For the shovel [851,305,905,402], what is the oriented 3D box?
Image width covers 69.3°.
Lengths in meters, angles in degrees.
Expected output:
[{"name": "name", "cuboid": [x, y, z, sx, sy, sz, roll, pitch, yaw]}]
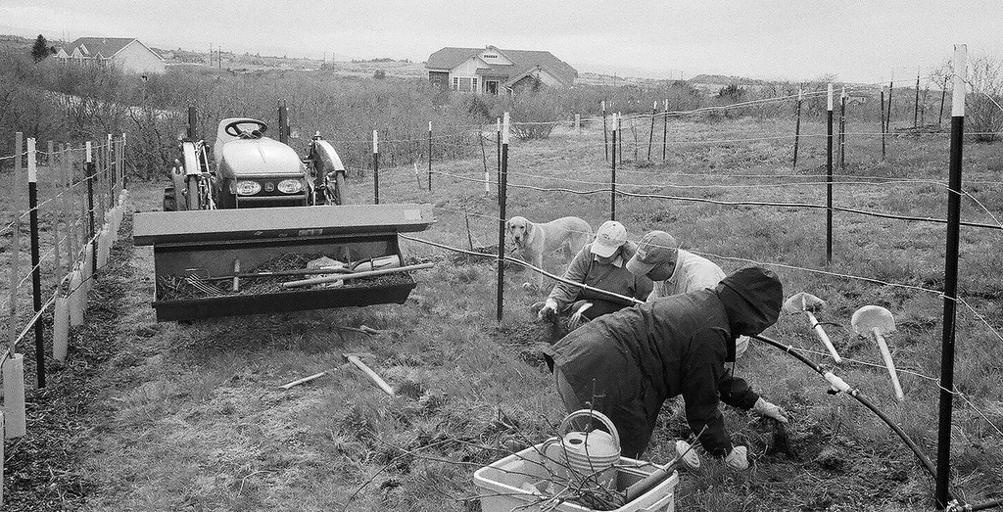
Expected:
[{"name": "shovel", "cuboid": [5.282, 1.068, 10.290, 0.765, 1.854, 0.981, 1, 1, 10]}]

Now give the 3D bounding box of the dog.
[{"name": "dog", "cuboid": [0.885, -0.257, 15.715, 2.813, 1.646, 0.903, -14, 9, -29]}]

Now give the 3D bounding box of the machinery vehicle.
[{"name": "machinery vehicle", "cuboid": [-4.409, -0.685, 14.501, 3.637, 2.555, 5.425, -3, 22, -14]}]
